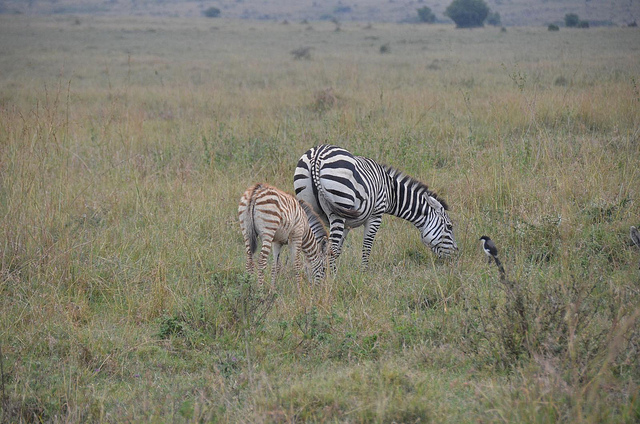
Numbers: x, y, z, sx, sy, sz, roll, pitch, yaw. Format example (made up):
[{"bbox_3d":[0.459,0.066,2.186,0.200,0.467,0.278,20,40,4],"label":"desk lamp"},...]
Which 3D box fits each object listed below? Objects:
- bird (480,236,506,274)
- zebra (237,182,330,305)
[{"bbox_3d":[3.068,0.782,12.519,0.149,0.273,0.655,-28,54,0],"label":"bird"},{"bbox_3d":[-0.648,0.564,13.256,0.819,2.866,2.169,-2,81,26],"label":"zebra"}]
